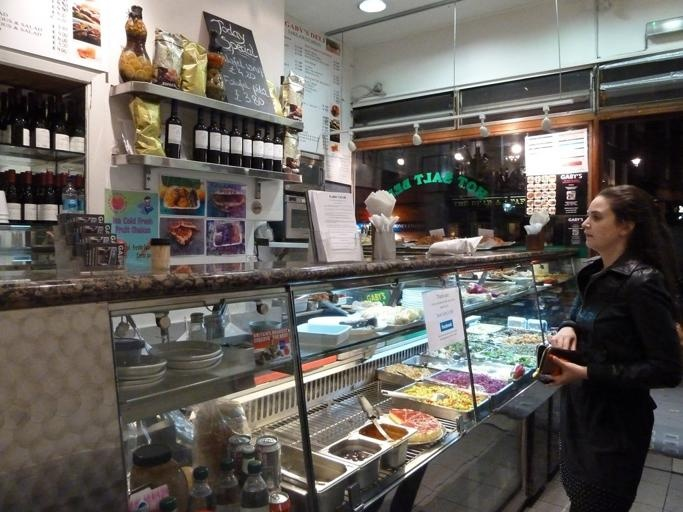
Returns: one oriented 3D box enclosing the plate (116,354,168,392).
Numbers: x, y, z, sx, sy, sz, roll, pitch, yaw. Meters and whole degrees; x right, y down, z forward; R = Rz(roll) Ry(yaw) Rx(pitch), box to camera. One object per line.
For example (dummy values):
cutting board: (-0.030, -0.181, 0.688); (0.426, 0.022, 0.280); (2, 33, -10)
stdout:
plate: (-0.575, 0.338, 1.366); (0.095, 0.035, 0.092); (0, -2, 11)

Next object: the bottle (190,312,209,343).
bottle: (-0.450, 0.224, 1.482); (0.053, 0.100, 0.042); (-8, 6, -27)

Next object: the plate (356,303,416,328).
plate: (0.217, 0.265, 2.101); (0.136, 0.044, 0.166); (-2, 1, -23)

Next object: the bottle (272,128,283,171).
bottle: (-0.541, -0.918, 4.039); (0.099, 0.387, 0.188); (-5, 6, -1)

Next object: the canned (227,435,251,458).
canned: (-0.341, 0.639, 1.584); (0.063, 0.062, 0.060); (1, -4, 2)

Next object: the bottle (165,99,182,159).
bottle: (-1.223, -0.893, 3.406); (0.134, 0.412, 0.323); (-7, 6, -19)

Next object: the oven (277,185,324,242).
oven: (-0.527, -0.458, 5.117); (0.205, 0.618, 0.371); (0, 7, 38)

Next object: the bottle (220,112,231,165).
bottle: (-0.903, -0.908, 3.669); (0.100, 0.402, 0.200); (-6, 6, -9)

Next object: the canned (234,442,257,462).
canned: (-0.312, 0.636, 1.530); (0.073, 0.065, 0.052); (-1, 4, -24)

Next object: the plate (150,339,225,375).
plate: (-0.474, 0.312, 1.478); (0.228, 0.116, 0.036); (-8, 7, -35)
